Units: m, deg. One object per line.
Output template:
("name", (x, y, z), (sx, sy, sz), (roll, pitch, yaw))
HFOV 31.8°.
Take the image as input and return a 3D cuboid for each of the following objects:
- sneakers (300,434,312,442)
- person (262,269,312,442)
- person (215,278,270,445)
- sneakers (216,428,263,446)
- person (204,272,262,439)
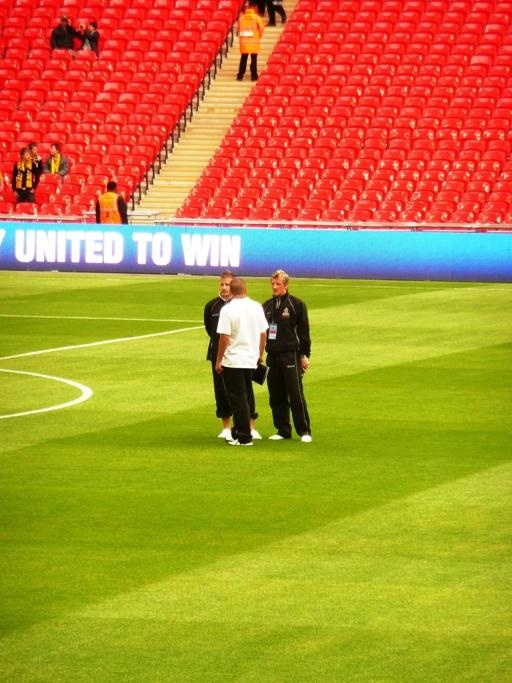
("sneakers", (0.513, 0.992, 9.285), (0.062, 0.059, 0.121), (2, 5, 5))
("person", (0.330, 0.151, 9.456), (0.527, 1.766, 0.617), (0, 5, 0))
("person", (-0.167, 0.215, 9.035), (0.352, 1.692, 0.644), (5, 6, 40))
("sneakers", (-0.159, 0.984, 9.375), (0.487, 0.252, 0.180), (4, 2, 8))
("person", (-0.269, 0.182, 9.877), (0.595, 2.141, 0.563), (4, 38, 12))
